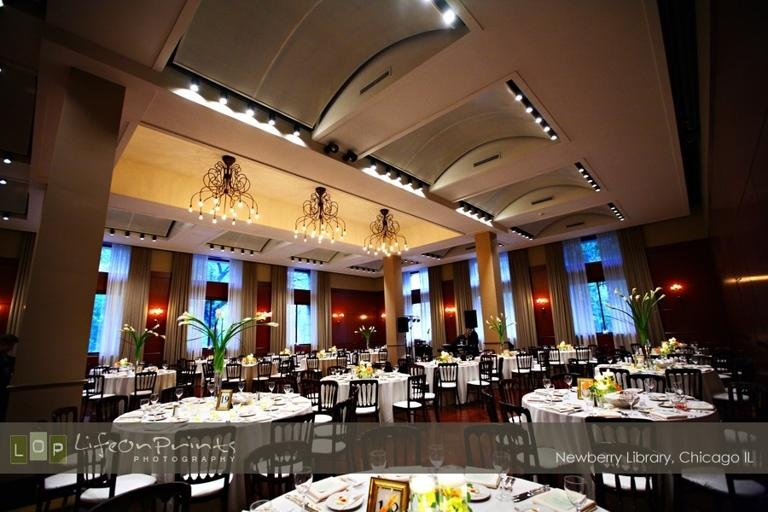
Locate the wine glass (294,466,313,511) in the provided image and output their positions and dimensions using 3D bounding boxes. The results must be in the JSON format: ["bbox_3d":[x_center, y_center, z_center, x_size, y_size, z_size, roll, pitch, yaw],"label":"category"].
[{"bbox_3d":[-0.762,2.229,4.242,0.145,0.344,0.291,-1,-15,-9],"label":"wine glass"}]

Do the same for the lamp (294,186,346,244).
[{"bbox_3d":[-1.756,-0.902,11.543,1.295,1.512,1.343,-2,-39,6],"label":"lamp"}]

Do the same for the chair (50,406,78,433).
[{"bbox_3d":[-3.880,1.983,5.450,0.194,0.337,0.202,10,-19,-32],"label":"chair"}]

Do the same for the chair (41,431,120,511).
[{"bbox_3d":[-3.525,2.513,5.222,1.146,0.843,0.546,-14,-18,32],"label":"chair"}]

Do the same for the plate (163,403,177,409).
[{"bbox_3d":[-3.057,2.144,6.385,0.161,0.042,0.172,3,-6,-24],"label":"plate"}]

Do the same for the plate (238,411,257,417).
[{"bbox_3d":[-1.852,2.155,6.069,0.208,0.056,0.177,0,-16,-14],"label":"plate"}]

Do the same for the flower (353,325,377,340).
[{"bbox_3d":[-0.792,3.193,18.681,0.899,1.021,0.965,-5,-7,0],"label":"flower"}]

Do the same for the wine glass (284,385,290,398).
[{"bbox_3d":[-1.429,2.014,6.669,0.113,0.197,0.126,-1,-9,9],"label":"wine glass"}]

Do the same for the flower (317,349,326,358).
[{"bbox_3d":[-1.989,3.131,14.231,0.265,0.278,0.266,2,2,43],"label":"flower"}]

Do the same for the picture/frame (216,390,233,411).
[{"bbox_3d":[-2.249,2.050,6.294,0.262,0.336,0.038,-14,-34,-4],"label":"picture/frame"}]

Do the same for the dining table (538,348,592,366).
[{"bbox_3d":[4.769,2.664,11.704,0.878,0.248,0.876,3,-7,-28],"label":"dining table"}]

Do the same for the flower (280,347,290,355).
[{"bbox_3d":[-3.460,3.389,15.675,0.277,0.175,0.335,2,2,-18],"label":"flower"}]

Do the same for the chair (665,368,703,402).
[{"bbox_3d":[4.729,2.041,7.024,0.362,0.603,0.385,-12,-33,36],"label":"chair"}]

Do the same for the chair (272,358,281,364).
[{"bbox_3d":[-3.349,3.284,13.887,0.217,0.326,0.250,4,-14,-19],"label":"chair"}]

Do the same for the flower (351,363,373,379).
[{"bbox_3d":[-0.338,2.173,8.431,0.397,0.307,0.416,-1,-9,31],"label":"flower"}]

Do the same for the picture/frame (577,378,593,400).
[{"bbox_3d":[2.784,1.847,6.159,0.250,0.259,0.088,7,-8,-41],"label":"picture/frame"}]

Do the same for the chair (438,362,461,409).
[{"bbox_3d":[1.429,2.757,9.601,0.401,0.908,0.792,-7,-16,13],"label":"chair"}]

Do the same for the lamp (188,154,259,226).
[{"bbox_3d":[-3.526,-1.475,9.665,0.809,0.924,0.806,27,-43,-34],"label":"lamp"}]

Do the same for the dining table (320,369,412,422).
[{"bbox_3d":[-0.288,2.457,7.760,1.146,0.676,1.183,1,-9,-2],"label":"dining table"}]

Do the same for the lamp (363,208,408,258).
[{"bbox_3d":[0.061,-0.633,12.895,1.286,1.116,1.289,3,-3,-39],"label":"lamp"}]

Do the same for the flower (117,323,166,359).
[{"bbox_3d":[-7.163,2.510,13.041,1.204,1.092,1.188,16,-1,-43],"label":"flower"}]

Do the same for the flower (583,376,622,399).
[{"bbox_3d":[2.872,1.754,6.007,0.382,0.203,0.379,-2,-2,-43],"label":"flower"}]

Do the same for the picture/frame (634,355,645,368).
[{"bbox_3d":[4.909,2.034,8.558,0.212,0.245,0.215,-1,-9,33],"label":"picture/frame"}]

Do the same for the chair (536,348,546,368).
[{"bbox_3d":[4.138,2.673,11.625,0.269,0.465,0.901,-8,-16,17],"label":"chair"}]

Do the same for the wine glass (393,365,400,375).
[{"bbox_3d":[0.287,2.569,10.062,0.135,0.161,0.139,1,-5,7],"label":"wine glass"}]

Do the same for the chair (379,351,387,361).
[{"bbox_3d":[-0.024,3.338,14.975,0.244,0.351,0.715,-2,-15,-7],"label":"chair"}]

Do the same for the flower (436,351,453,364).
[{"bbox_3d":[1.499,2.377,10.385,0.354,0.329,0.365,-1,-10,-10],"label":"flower"}]
